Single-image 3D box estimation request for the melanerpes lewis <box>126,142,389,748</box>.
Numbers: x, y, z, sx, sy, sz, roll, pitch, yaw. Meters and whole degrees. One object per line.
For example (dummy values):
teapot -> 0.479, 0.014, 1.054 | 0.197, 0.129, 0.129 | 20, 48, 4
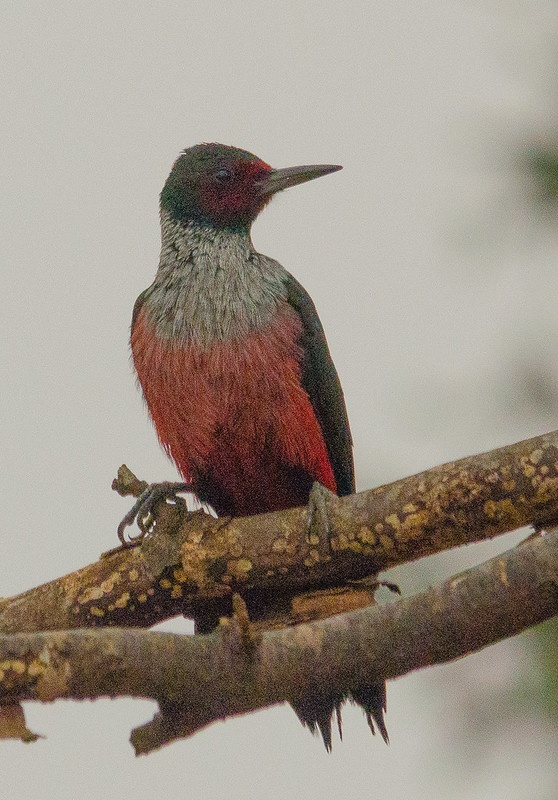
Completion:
melanerpes lewis -> -0.099, 0.312, 5.075 | 0.593, 1.799, 1.247 | -15, -47, 15
